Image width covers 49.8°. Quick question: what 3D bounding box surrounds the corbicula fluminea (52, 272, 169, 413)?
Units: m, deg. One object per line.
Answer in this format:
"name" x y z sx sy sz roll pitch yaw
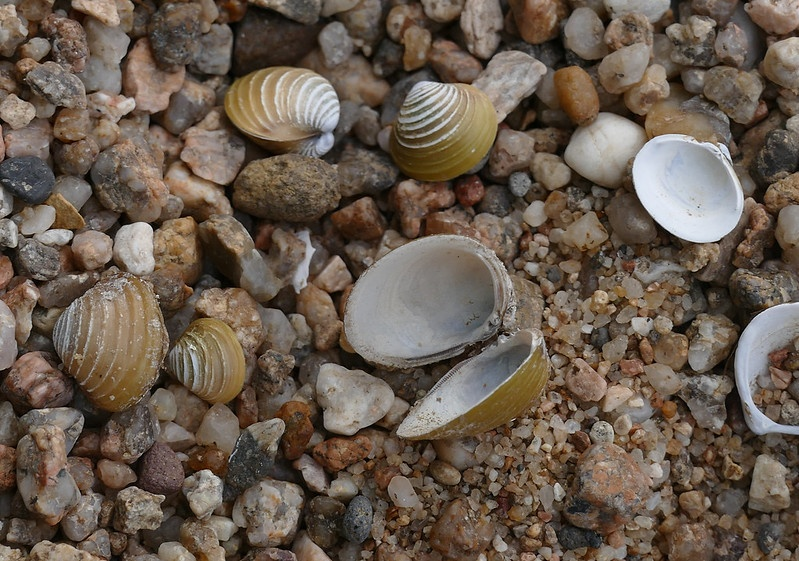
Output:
"corbicula fluminea" -1.369 0.239 4.075 0.550 0.176 0.691 17 71 1

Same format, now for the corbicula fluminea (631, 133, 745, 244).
"corbicula fluminea" 1.413 -0.457 4.284 0.545 0.141 0.481 16 85 4

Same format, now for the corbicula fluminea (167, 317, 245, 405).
"corbicula fluminea" -0.901 0.348 4.290 0.368 0.422 0.374 -24 121 -37

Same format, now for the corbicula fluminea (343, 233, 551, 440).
"corbicula fluminea" 0.225 0.292 4.257 0.848 0.371 1.027 -33 84 -1

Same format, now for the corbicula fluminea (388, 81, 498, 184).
"corbicula fluminea" 0.219 -0.754 4.345 0.553 0.267 0.456 -6 84 2

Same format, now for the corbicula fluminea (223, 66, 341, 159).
"corbicula fluminea" -0.607 -0.864 4.430 0.578 0.276 0.556 18 45 0
